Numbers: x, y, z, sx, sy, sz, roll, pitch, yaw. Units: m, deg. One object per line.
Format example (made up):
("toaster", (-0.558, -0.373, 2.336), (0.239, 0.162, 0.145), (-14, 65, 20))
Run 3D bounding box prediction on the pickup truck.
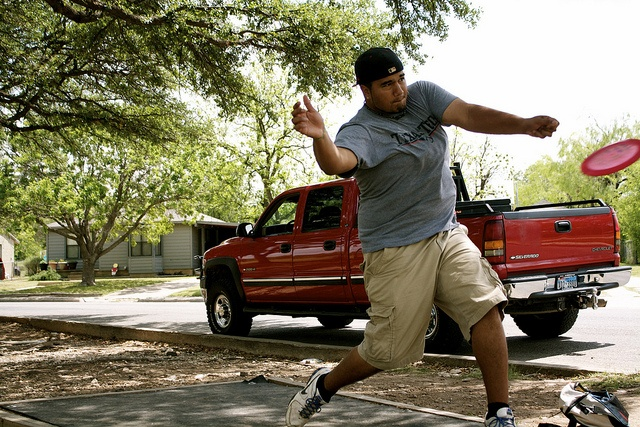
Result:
("pickup truck", (0.819, 0.813, 9.366), (7.119, 2.922, 3.240), (-2, -3, 40))
